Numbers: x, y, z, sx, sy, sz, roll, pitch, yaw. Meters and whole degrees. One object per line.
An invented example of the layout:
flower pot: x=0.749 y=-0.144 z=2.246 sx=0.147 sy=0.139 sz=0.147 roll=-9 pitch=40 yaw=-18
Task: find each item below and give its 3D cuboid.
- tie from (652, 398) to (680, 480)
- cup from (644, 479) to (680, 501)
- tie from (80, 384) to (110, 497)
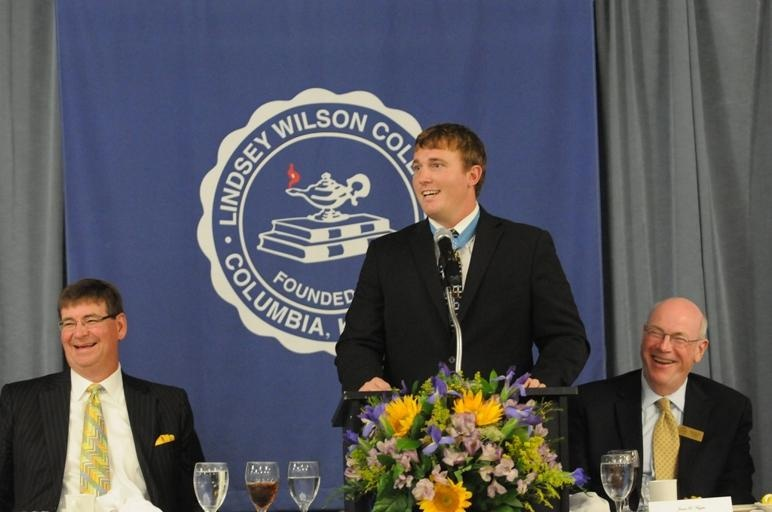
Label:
tie: x=1.534 y=0.996 z=6.452 sx=0.158 sy=0.447 sz=0.218 roll=-5 pitch=-13 yaw=13
cup: x=1.278 y=1.074 z=5.448 sx=0.112 sy=0.084 sz=0.109 roll=0 pitch=-7 yaw=0
tie: x=-1.594 y=0.993 z=6.395 sx=0.157 sy=0.600 sz=0.104 roll=-1 pitch=-12 yaw=-4
